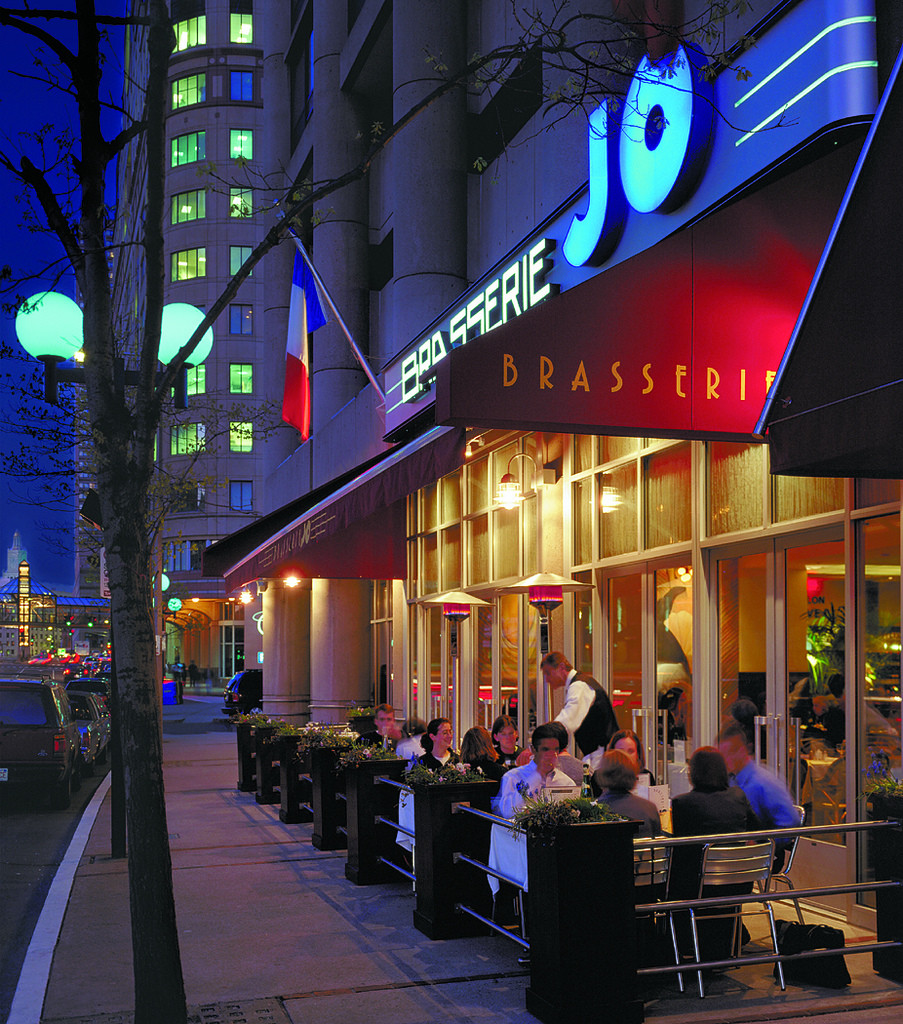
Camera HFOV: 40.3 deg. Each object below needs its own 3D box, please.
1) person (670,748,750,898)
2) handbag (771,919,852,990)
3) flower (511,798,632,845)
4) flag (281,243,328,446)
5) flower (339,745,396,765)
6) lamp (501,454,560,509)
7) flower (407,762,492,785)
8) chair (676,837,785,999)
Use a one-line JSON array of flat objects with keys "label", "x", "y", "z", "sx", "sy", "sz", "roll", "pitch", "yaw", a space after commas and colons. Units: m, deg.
[{"label": "person", "x": 1.642, "y": 2.011, "z": 7.624, "sx": 0.414, "sy": 1.438, "sz": 0.422, "roll": -10, "pitch": 27, "yaw": -2}, {"label": "handbag", "x": 2.044, "y": 2.487, "z": 6.898, "sx": 0.391, "sy": 0.301, "sz": 0.725, "roll": 0, "pitch": -9, "yaw": -1}, {"label": "flower", "x": 0.625, "y": 1.578, "z": 6.335, "sx": 0.599, "sy": 0.189, "sz": 0.294, "roll": -1, "pitch": -9, "yaw": 3}, {"label": "flag", "x": -2.467, "y": -3.010, "z": 20.702, "sx": 0.613, "sy": 3.503, "sz": 0.416, "roll": 4, "pitch": -13, "yaw": -20}, {"label": "flower", "x": -0.714, "y": 2.131, "z": 10.675, "sx": 0.462, "sy": 0.153, "sz": 0.388, "roll": 2, "pitch": -10, "yaw": -15}, {"label": "lamp", "x": 0.829, "y": -0.334, "z": 14.079, "sx": 0.375, "sy": 0.852, "sz": 0.933, "roll": -1, "pitch": -1, "yaw": -40}, {"label": "flower", "x": -0.023, "y": 1.855, "z": 8.664, "sx": 0.608, "sy": 0.130, "sz": 0.402, "roll": 0, "pitch": -9, "yaw": -1}, {"label": "chair", "x": 1.570, "y": 2.285, "z": 7.057, "sx": 0.610, "sy": 0.773, "sz": 1.371, "roll": -2, "pitch": -9, "yaw": 12}]
